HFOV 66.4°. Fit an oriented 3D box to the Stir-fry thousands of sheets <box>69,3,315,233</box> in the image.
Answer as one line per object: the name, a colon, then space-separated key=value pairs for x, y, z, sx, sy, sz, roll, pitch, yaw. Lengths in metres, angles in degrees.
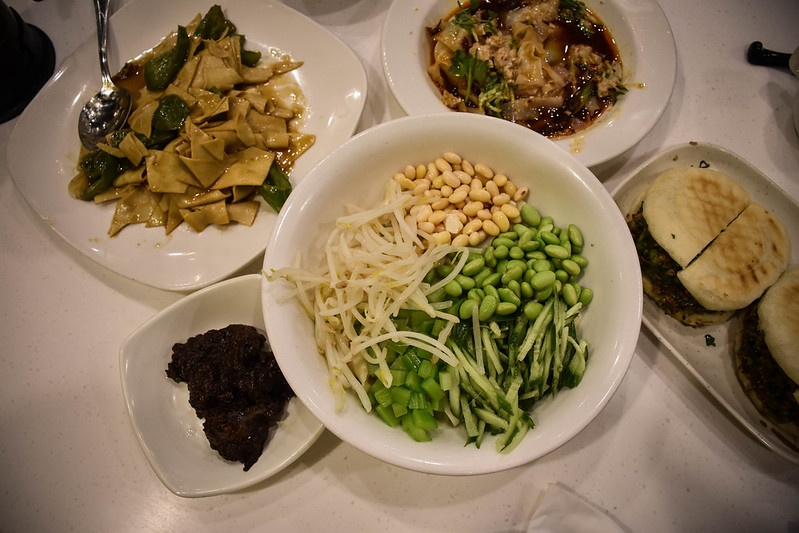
Stir-fry thousands of sheets: x=-1.100 y=-0.706 z=3.480 sx=1.179 sy=0.199 sz=1.457 roll=31 pitch=80 yaw=7

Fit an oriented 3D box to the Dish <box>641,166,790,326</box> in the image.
Dish: x=1.705 y=-0.100 z=3.552 sx=0.677 sy=0.547 sz=0.874 roll=-5 pitch=60 yaw=5

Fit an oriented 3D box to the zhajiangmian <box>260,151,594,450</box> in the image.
zhajiangmian: x=0.225 y=0.162 z=3.048 sx=1.341 sy=0.606 sz=1.474 roll=-3 pitch=82 yaw=3

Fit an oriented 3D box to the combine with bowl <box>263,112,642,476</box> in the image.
combine with bowl: x=0.317 y=0.228 z=3.778 sx=1.674 sy=0.464 sz=1.848 roll=22 pitch=84 yaw=4
